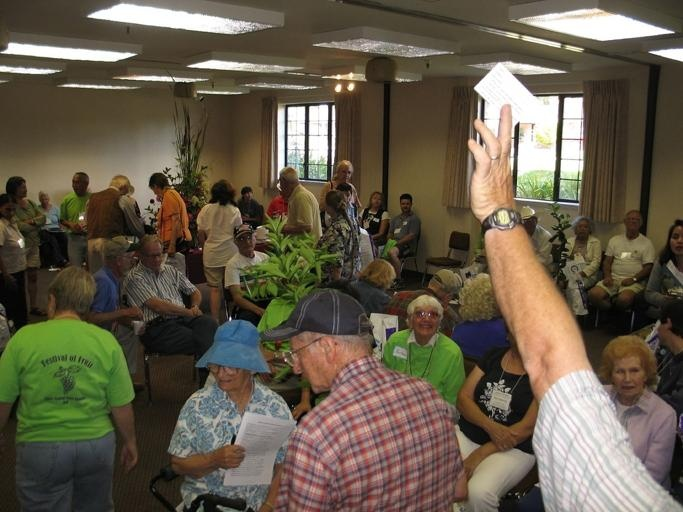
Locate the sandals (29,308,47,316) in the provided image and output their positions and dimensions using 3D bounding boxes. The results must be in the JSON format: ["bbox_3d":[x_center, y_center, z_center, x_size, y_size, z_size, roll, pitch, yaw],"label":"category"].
[{"bbox_3d":[-4.535,0.837,7.202,0.295,0.136,0.116,4,5,0],"label":"sandals"}]

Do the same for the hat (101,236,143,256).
[{"bbox_3d":[-2.197,-0.095,4.760,0.263,0.114,0.171,-13,25,-32],"label":"hat"}]

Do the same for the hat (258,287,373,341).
[{"bbox_3d":[-0.077,0.197,1.742,0.262,0.151,0.189,2,-2,7],"label":"hat"}]

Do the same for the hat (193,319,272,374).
[{"bbox_3d":[-0.527,0.445,2.438,0.266,0.205,0.300,5,-16,6],"label":"hat"}]
